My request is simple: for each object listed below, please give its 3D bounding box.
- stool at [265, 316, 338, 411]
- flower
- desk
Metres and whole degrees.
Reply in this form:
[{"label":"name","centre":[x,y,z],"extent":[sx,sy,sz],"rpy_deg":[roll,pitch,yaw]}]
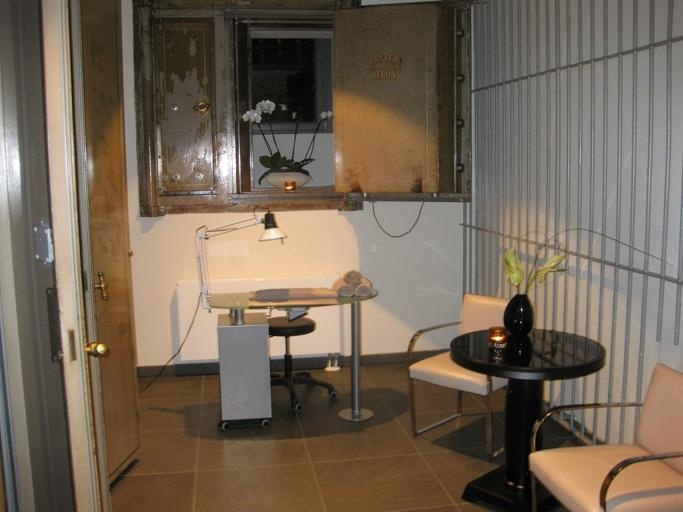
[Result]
[{"label":"stool","centre":[-0.360,0.823,5.185],"extent":[0.626,0.614,0.656],"rpy_deg":[3,6,20]},{"label":"flower","centre":[-0.491,-1.017,5.836],"extent":[0.759,0.827,0.716],"rpy_deg":[0,12,-4]},{"label":"desk","centre":[-0.440,0.746,4.767],"extent":[1.094,0.987,0.526],"rpy_deg":[-4,11,-12]}]
